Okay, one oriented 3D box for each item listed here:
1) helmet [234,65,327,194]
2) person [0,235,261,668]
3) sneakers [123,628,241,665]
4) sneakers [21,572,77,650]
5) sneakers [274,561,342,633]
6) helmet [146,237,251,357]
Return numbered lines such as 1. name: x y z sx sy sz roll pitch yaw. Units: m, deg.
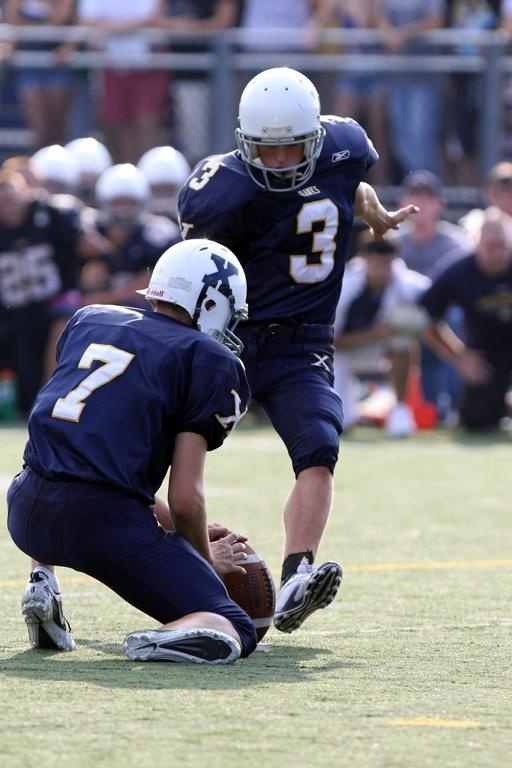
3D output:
1. helmet: 0.077 -0.748 2.980 0.321 0.347 0.380 -2 28 4
2. person: -0.299 0.143 2.423 0.611 1.020 0.509 1 5 -5
3. sneakers: -0.153 0.586 2.285 0.306 0.082 0.113 2 7 0
4. sneakers: -0.497 0.565 2.460 0.103 0.226 0.111 -7 43 10
5. sneakers: 0.138 0.558 2.595 0.113 0.227 0.199 -1 5 -33
6. helmet: -0.135 -0.248 2.670 0.351 0.252 0.245 7 5 -27
